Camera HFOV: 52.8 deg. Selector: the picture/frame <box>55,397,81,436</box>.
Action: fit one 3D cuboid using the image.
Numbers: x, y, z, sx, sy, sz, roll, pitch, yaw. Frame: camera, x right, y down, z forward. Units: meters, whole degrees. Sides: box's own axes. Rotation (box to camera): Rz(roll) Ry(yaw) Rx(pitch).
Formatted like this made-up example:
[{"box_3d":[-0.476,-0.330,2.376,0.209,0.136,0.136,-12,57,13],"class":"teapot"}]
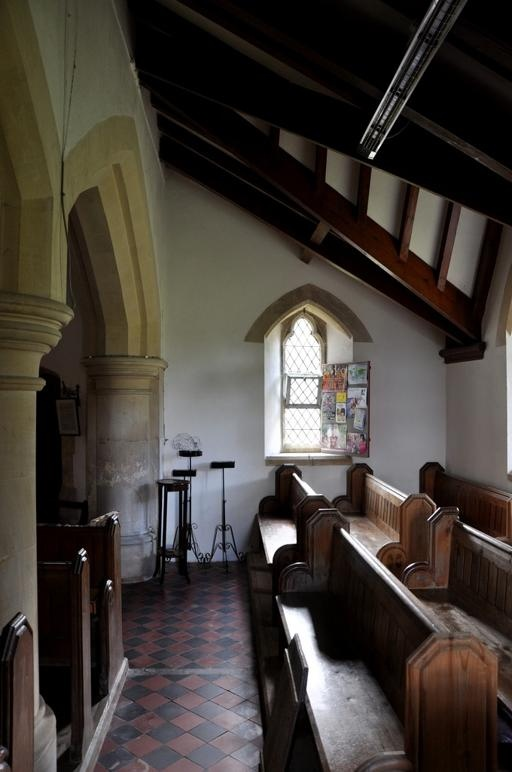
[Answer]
[{"box_3d":[-2.334,0.388,6.409,0.305,0.571,0.044,2,6,29],"class":"picture/frame"}]
